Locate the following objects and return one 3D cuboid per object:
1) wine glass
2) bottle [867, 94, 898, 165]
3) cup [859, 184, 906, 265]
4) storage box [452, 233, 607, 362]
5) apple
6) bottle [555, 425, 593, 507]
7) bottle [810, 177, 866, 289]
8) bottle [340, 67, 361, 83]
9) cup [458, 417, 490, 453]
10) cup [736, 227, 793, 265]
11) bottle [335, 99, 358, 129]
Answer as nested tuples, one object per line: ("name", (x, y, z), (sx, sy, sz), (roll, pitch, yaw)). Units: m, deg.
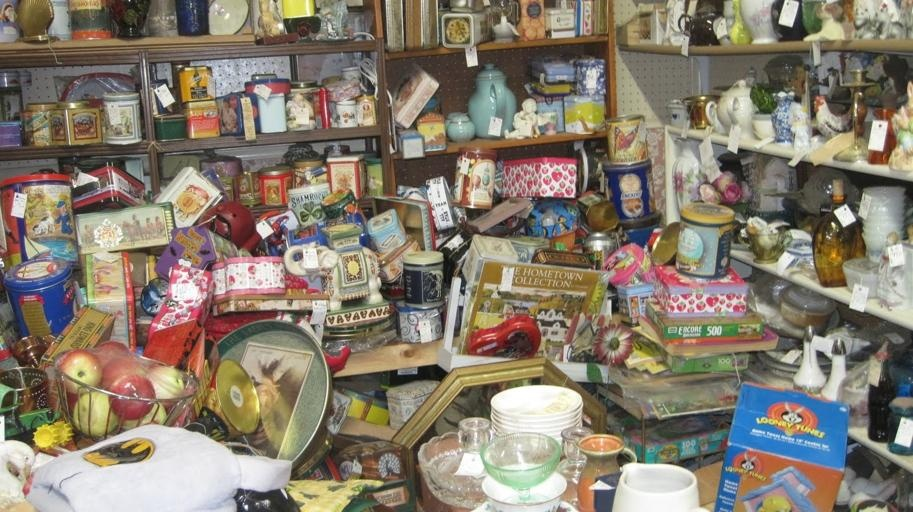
("wine glass", (0.220, 0.675, 2.328), (0.205, 0.155, 0.196), (-22, 30, -33))
("bottle", (1.789, -0.499, 2.903), (0.099, 0.222, 0.106), (-6, 15, 2))
("cup", (1.897, -0.148, 3.045), (0.206, 0.297, 0.106), (-4, 15, 6))
("storage box", (0.355, 0.228, 3.442), (0.491, 0.470, 0.271), (9, 14, -12))
("apple", (-1.181, 0.460, 2.453), (0.432, 0.277, 0.260), (-2, 16, 13))
("bottle", (0.417, 0.745, 2.437), (0.144, 0.257, 0.149), (-3, 21, 1))
("bottle", (1.734, -0.109, 3.128), (0.227, 0.463, 0.151), (-14, 17, -26))
("bottle", (-0.630, -1.073, 4.123), (0.093, 0.092, 0.096), (0, 10, -1))
("cup", (0.065, 0.651, 2.555), (0.108, 0.098, 0.109), (0, -1, 0))
("cup", (1.527, -0.088, 3.379), (0.164, 0.165, 0.228), (-4, 4, -41))
("bottle", (-0.622, -0.830, 4.030), (0.142, 0.162, 0.146), (-2, 10, -3))
